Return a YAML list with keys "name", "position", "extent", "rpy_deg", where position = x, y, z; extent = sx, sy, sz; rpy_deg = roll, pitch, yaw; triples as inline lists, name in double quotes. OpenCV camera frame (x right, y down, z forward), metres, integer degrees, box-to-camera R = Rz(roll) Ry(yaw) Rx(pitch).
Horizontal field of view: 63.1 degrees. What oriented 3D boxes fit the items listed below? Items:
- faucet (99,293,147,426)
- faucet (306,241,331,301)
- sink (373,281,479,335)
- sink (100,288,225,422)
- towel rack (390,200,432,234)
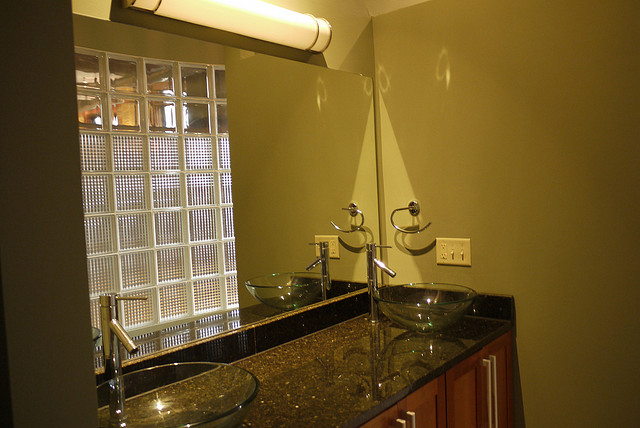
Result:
- name: "faucet"
  position: [-0.603, 0.445, 1.621]
  extent: [0.134, 0.387, 0.273]
  rpy_deg: [-4, 8, -22]
- name: "faucet"
  position: [0.002, 0.296, 2.482]
  extent: [0.130, 0.333, 0.068]
  rpy_deg: [-4, 11, 0]
- name: "sink"
  position: [0.453, 0.431, 2.311]
  extent: [0.444, 0.183, 0.453]
  rpy_deg: [-3, 3, -15]
- name: "sink"
  position: [-0.472, 0.434, 1.747]
  extent: [0.396, 0.488, 0.410]
  rpy_deg: [-1, -3, 20]
- name: "towel rack"
  position: [0.482, 0.028, 2.597]
  extent: [0.244, 0.077, 0.295]
  rpy_deg: [8, 25, 0]
